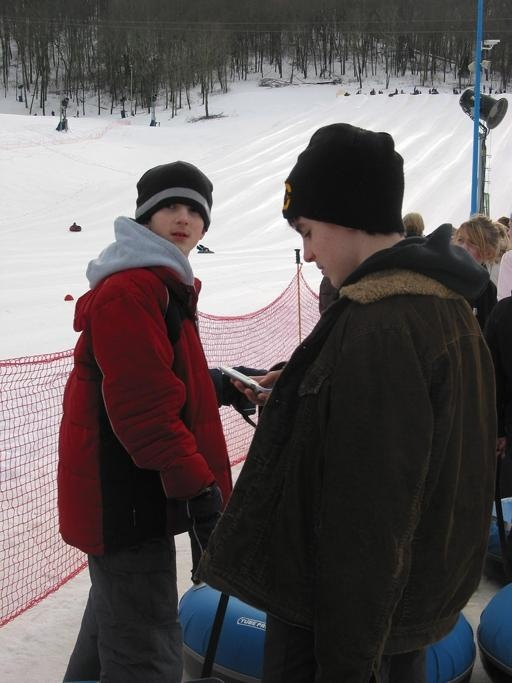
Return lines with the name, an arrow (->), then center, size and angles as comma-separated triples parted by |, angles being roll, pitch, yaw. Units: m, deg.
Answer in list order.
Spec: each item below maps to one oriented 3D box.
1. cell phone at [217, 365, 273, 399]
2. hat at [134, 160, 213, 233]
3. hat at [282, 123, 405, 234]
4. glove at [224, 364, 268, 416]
cell phone -> -0.035, 0.116, 2.586 | 0.061, 0.057, 0.193 | 14, 14, -42
hat -> -0.259, -0.482, 3.033 | 0.188, 0.193, 0.221 | -12, -24, 42
hat -> 0.195, -0.374, 2.069 | 0.228, 0.291, 0.216 | 10, 23, 15
glove -> -0.038, 0.164, 3.103 | 0.148, 0.160, 0.047 | 23, 11, 32
